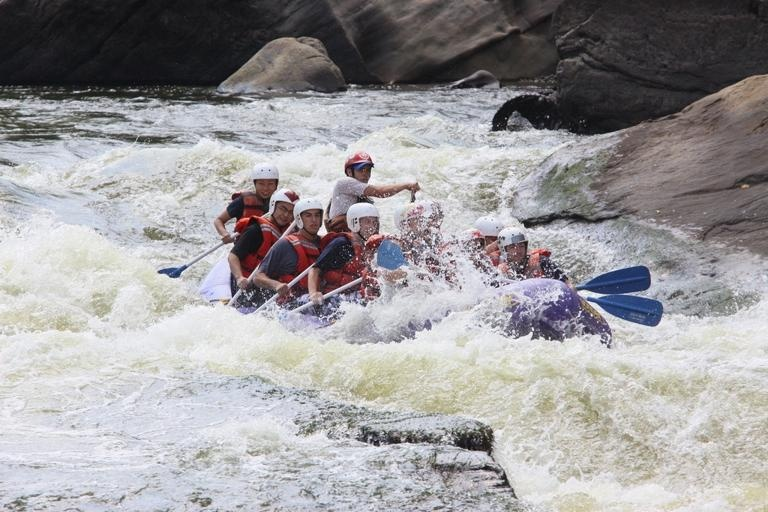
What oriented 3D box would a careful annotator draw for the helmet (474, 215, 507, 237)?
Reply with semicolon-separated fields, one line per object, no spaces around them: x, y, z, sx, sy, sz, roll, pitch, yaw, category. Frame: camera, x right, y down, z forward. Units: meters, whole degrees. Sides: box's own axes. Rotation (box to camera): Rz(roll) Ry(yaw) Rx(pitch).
1.360;-0.357;13.423;0.375;0.238;0.254;-5;16;39;helmet

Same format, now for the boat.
0.608;0.587;11.916;3.577;0.843;1.579;-1;28;-8;boat

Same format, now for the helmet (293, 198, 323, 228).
-0.995;-0.530;13.038;0.377;0.399;0.236;23;22;33;helmet

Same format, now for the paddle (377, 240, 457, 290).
0.351;0.084;12.309;0.791;0.264;0.548;18;-4;-7;paddle

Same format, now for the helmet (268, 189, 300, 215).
-1.309;-0.675;13.609;0.326;0.349;0.395;9;18;-8;helmet

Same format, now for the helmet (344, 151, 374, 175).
-0.376;-1.251;14.095;0.289;0.171;0.390;8;-22;-42;helmet
